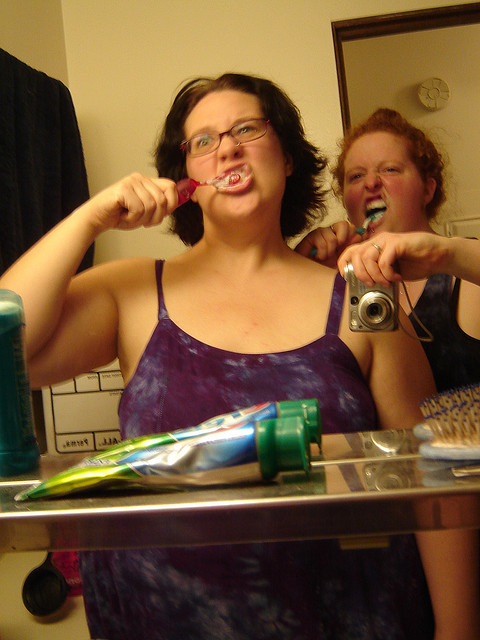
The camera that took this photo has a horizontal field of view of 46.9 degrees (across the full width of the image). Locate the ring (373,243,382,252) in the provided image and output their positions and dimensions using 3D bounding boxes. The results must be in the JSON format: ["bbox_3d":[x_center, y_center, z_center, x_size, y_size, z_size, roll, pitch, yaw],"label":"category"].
[{"bbox_3d":[0.148,-0.077,0.592,0.007,0.008,0.008,-8,9,1],"label":"ring"}]

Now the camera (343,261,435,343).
[{"bbox_3d":[0.159,-0.026,0.582,0.088,0.085,0.044,-1,17,25],"label":"camera"}]

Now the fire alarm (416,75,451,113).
[{"bbox_3d":[0.468,-0.546,1.331,0.080,0.083,0.009,-7,9,2],"label":"fire alarm"}]
